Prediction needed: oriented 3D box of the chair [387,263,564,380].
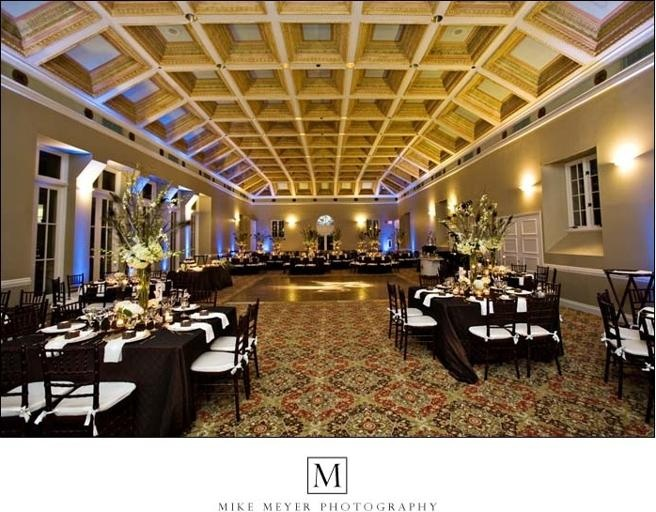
[{"bbox_3d":[2.160,0.768,5.568,1.177,0.775,1.941,0,7,2],"label":"chair"}]
